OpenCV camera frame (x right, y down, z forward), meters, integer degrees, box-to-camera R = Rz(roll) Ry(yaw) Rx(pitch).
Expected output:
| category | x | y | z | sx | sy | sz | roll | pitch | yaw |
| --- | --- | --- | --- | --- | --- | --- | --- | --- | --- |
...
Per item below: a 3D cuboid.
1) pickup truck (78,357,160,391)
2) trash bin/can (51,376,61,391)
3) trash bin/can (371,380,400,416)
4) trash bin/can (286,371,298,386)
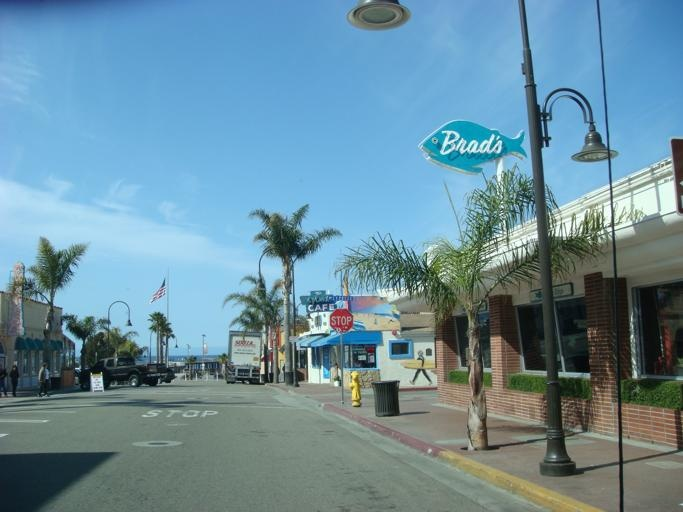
| category | x | y | z | sx | sy | sz | roll | pitch | yaw |
| --- | --- | --- | --- | --- | --- | --- | --- | --- | --- |
| pickup truck | -14.580 | 7.545 | 43.959 | 3.890 | 1.760 | 2.411 | 2 | -9 | -5 |
| trash bin/can | -18.673 | 8.183 | 43.844 | 0.500 | 0.789 | 1.130 | -2 | -14 | -8 |
| trash bin/can | 1.394 | 4.663 | 22.293 | 0.929 | 1.087 | 0.994 | -5 | -7 | 29 |
| trash bin/can | -3.100 | 7.455 | 41.052 | 0.753 | 0.974 | 0.839 | 0 | -5 | -2 |
